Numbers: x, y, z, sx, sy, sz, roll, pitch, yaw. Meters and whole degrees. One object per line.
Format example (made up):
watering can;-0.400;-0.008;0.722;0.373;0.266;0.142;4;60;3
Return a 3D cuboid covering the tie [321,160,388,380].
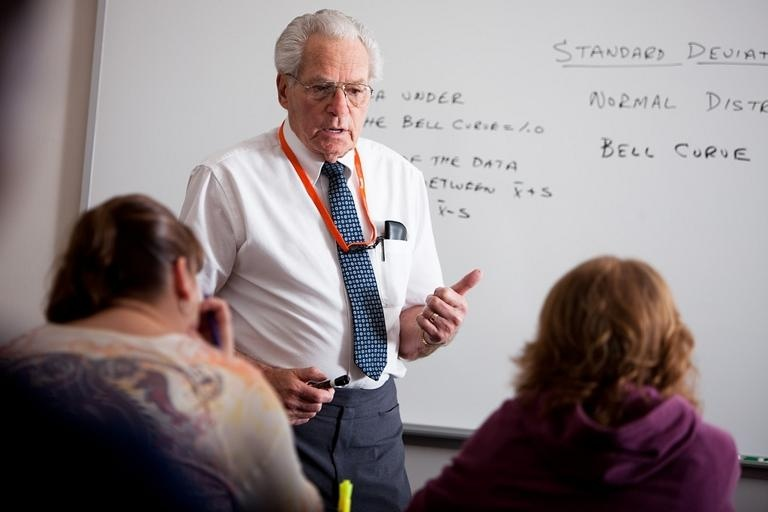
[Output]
tie;-0.106;-0.035;1.883;0.114;0.800;0.045;-13;-20;-11

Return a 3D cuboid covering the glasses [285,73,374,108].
glasses;-0.159;-0.474;1.832;0.243;0.083;0.079;2;8;-7

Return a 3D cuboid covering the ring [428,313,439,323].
ring;0.140;0.175;1.813;0.037;0.027;0.021;-1;6;3

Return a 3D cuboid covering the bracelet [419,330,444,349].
bracelet;0.139;0.250;1.893;0.047;0.024;0.062;37;-14;-27
